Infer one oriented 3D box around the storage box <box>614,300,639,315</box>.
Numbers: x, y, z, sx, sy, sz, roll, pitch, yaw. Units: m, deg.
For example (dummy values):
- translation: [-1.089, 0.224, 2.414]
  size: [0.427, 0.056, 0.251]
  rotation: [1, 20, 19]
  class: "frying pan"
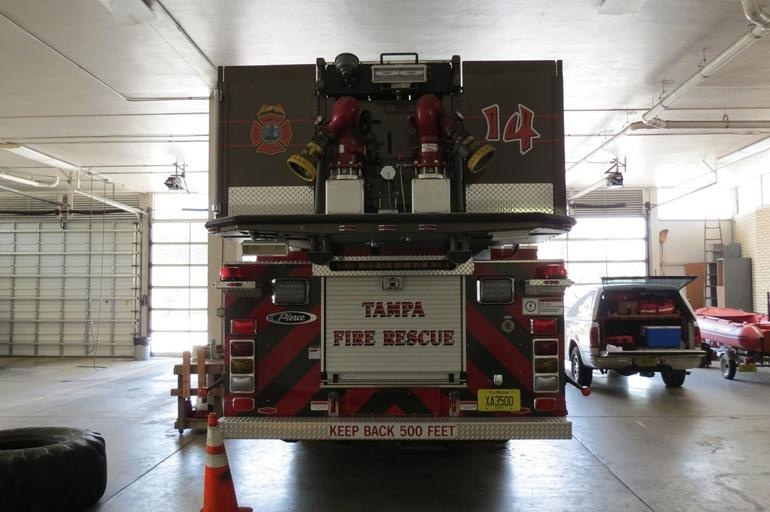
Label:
- translation: [5.058, 1.086, 15.142]
  size: [0.489, 0.290, 0.253]
  rotation: [0, -11, 1]
  class: "storage box"
